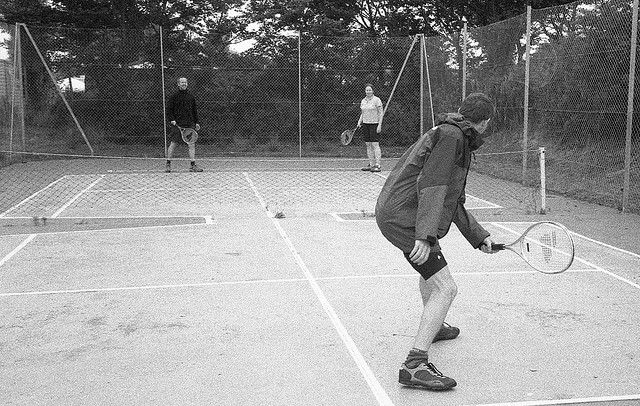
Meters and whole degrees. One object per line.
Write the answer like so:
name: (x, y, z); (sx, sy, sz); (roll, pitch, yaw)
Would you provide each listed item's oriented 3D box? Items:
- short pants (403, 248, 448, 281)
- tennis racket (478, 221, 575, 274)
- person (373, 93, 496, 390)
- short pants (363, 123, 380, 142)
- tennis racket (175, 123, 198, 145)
short pants: (0.804, 0.479, 3.856); (0.308, 0.301, 0.221); (1, 14, 6)
tennis racket: (1.868, 0.451, 4.859); (0.065, 0.488, 1.224); (-6, -5, -24)
person: (0.883, 0.252, 3.956); (0.866, 2.183, 1.058); (5, 15, 20)
short pants: (1.333, -1.889, 13.483); (0.404, 0.506, 0.202); (5, 15, 18)
tennis racket: (-3.476, -1.788, 13.084); (0.444, 0.566, 0.628); (-9, 16, -31)
